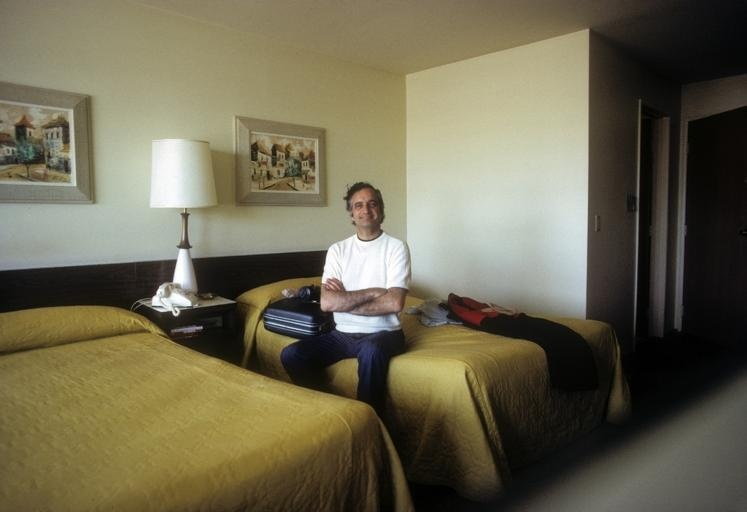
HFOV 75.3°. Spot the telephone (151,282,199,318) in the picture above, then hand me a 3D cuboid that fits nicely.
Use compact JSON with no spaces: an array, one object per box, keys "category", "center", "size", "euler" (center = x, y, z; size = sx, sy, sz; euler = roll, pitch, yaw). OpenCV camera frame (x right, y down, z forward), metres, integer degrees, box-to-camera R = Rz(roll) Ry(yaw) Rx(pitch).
[{"category":"telephone","center":[-1.492,0.282,3.581],"size":[0.290,0.156,0.388],"euler":[6,11,-1]}]

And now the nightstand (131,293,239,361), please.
[{"category":"nightstand","center":[-1.426,0.522,3.710],"size":[0.477,0.683,0.672],"euler":[6,8,44]}]

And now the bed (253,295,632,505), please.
[{"category":"bed","center":[0.448,0.635,2.976],"size":[1.338,0.382,1.141],"euler":[6,11,44]}]

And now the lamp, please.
[{"category":"lamp","center":[-1.494,-0.326,3.745],"size":[0.489,1.140,0.396],"euler":[10,17,31]}]

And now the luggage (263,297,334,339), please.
[{"category":"luggage","center":[-0.557,0.470,3.716],"size":[0.433,0.178,0.479],"euler":[9,8,11]}]

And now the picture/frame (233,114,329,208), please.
[{"category":"picture/frame","center":[-0.867,-0.868,4.327],"size":[0.855,0.798,0.063],"euler":[0,0,-39]}]
